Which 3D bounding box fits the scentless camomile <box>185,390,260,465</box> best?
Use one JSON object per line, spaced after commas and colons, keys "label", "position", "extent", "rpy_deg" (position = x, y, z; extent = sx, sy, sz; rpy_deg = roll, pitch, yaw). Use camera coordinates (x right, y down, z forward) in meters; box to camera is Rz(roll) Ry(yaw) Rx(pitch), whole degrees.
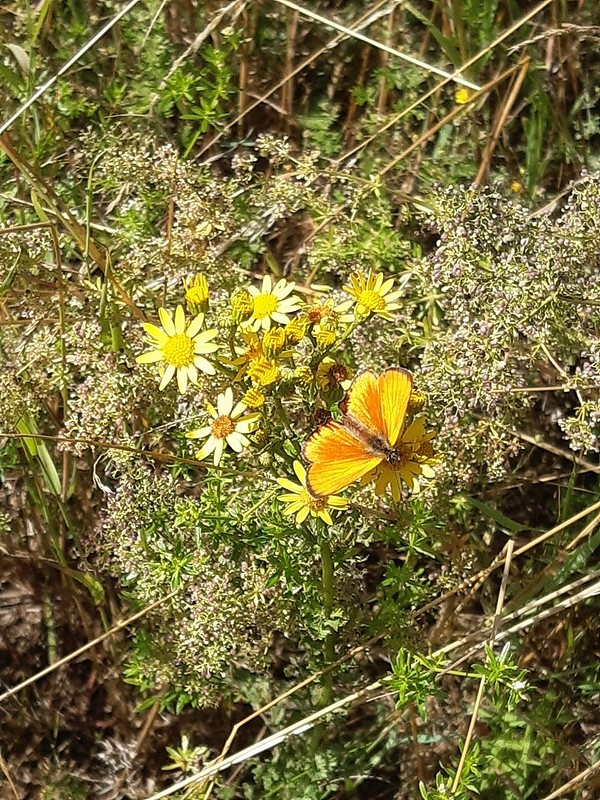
{"label": "scentless camomile", "position": [-0.198, 0.076, 2.148], "extent": [0.209, 0.041, 0.203], "rpy_deg": [-45, 69, 12]}

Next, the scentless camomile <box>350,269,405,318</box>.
{"label": "scentless camomile", "position": [0.196, -0.296, 2.267], "extent": [0.163, 0.183, 0.149], "rpy_deg": [-1, 96, -1]}

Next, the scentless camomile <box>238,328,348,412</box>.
{"label": "scentless camomile", "position": [-0.025, -0.078, 2.056], "extent": [0.241, 0.119, 0.217], "rpy_deg": [-11, 76, -23]}

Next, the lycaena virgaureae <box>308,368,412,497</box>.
{"label": "lycaena virgaureae", "position": [0.124, 0.072, 1.707], "extent": [0.213, 0.105, 0.281], "rpy_deg": [-4, 99, -32]}

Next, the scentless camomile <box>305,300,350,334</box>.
{"label": "scentless camomile", "position": [0.080, -0.213, 2.117], "extent": [0.122, 0.114, 0.046], "rpy_deg": [-1, 118, 6]}
